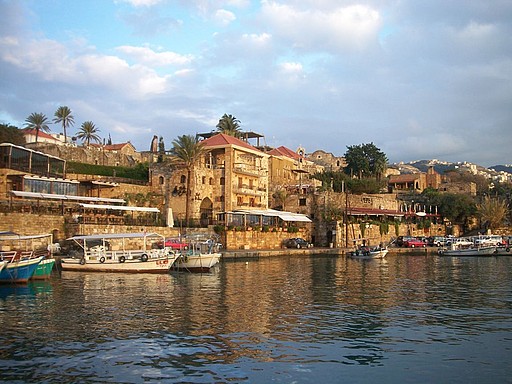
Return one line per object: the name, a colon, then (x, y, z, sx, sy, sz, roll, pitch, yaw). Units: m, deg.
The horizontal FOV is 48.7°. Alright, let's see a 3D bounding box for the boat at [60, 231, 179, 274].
boat: (-10.435, 4.991, 43.659, 9.140, 2.585, 3.211, -3, -14, 15)
